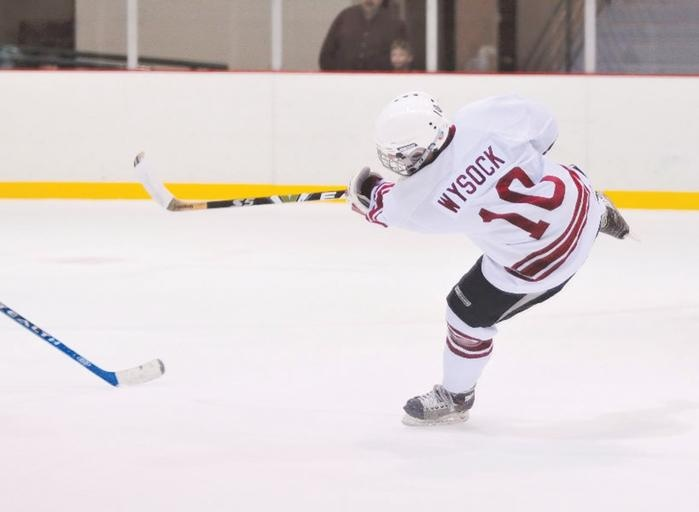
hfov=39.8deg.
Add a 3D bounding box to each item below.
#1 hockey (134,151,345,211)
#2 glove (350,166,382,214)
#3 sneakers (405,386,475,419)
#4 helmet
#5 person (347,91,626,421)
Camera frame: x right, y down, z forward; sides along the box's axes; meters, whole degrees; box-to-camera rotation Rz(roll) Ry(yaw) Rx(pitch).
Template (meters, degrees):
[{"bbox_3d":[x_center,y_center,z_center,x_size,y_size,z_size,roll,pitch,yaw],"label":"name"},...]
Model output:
[{"bbox_3d":[-0.509,-0.384,5.063,0.125,0.327,1.543,9,13,39],"label":"hockey"},{"bbox_3d":[0.054,-0.255,3.790,0.152,0.106,0.200,-9,-3,0],"label":"glove"},{"bbox_3d":[0.355,0.581,3.819,0.261,0.090,0.112,2,-1,-10],"label":"sneakers"},{"bbox_3d":[0.237,-0.456,3.656,0.281,0.309,0.203,6,19,3],"label":"helmet"},{"bbox_3d":[0.517,0.025,3.722,0.934,1.245,0.388,5,20,-1],"label":"person"}]
